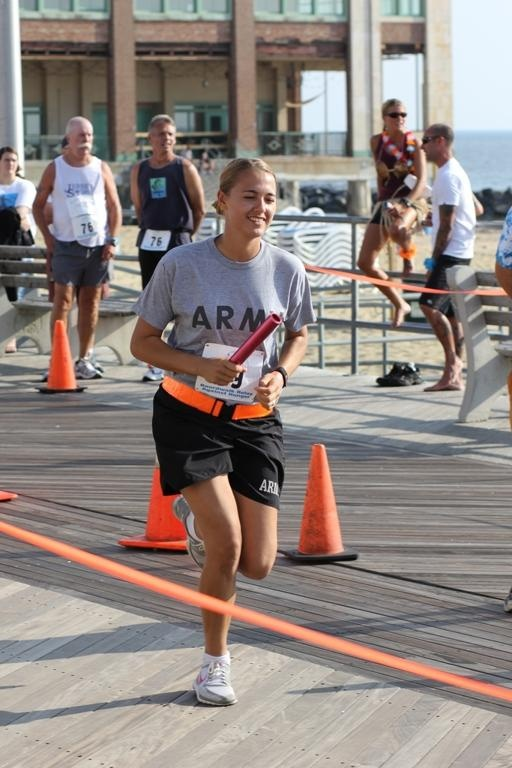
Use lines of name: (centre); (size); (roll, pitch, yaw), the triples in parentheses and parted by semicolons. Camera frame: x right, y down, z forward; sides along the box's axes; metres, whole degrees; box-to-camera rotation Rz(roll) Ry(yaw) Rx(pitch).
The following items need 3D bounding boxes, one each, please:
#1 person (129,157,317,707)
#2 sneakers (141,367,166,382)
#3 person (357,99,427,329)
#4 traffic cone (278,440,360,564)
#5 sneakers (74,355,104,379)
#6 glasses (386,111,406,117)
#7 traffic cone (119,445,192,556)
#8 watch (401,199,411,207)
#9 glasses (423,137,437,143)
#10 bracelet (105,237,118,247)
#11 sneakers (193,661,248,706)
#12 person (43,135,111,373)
person: (-0.026, -0.039, 2.780); (0.554, 1.157, 0.534); (-3, 9, -22)
sneakers: (-0.837, -0.076, 8.258); (0.125, 0.146, 0.354); (-1, -2, 7)
person: (1.074, -1.500, 7.908); (0.554, 1.377, 0.476); (7, 11, 40)
traffic cone: (0.245, 0.454, 3.914); (0.365, 0.411, 0.346); (-2, -2, 29)
sneakers: (-1.388, -0.118, 8.245); (0.110, 0.132, 0.307); (-7, 4, -41)
glasses: (1.062, -2.041, 7.677); (0.137, 0.051, 0.181); (1, 8, 7)
traffic cone: (-0.381, 0.450, 4.018); (0.381, 0.393, 0.368); (-1, 3, -31)
watch: (1.144, -1.390, 7.760); (0.051, 0.075, 0.071); (-27, 15, -11)
glasses: (1.219, -1.728, 7.158); (0.074, 0.022, 0.067); (2, 4, -7)
bracelet: (-1.087, -1.068, 7.642); (0.063, 0.078, 0.133); (4, 9, 23)
sneakers: (-0.102, 0.763, 2.564); (0.064, 0.068, 0.156); (1, -3, -17)
person: (-1.359, -1.102, 7.681); (0.634, 1.749, 0.484); (0, 8, -7)
